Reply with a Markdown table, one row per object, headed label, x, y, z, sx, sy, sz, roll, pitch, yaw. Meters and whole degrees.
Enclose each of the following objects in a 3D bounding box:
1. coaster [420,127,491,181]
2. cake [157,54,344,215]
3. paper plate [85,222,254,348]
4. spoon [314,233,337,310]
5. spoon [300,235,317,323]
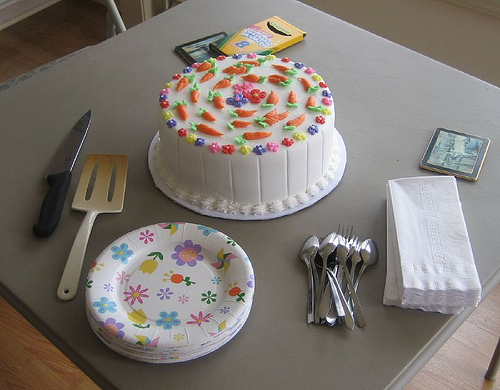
| label | x | y | z | sx | sy | sz | roll | pitch | yaw |
| --- | --- | --- | --- | --- | --- | --- | --- | --- | --- |
| coaster | 0.559 | -0.112 | 1.247 | 0.145 | 0.039 | 0.182 | 28 | 52 | 16 |
| cake | 0.007 | -0.274 | 1.099 | 0.391 | 0.149 | 0.416 | 22 | 54 | 20 |
| paper plate | -0.162 | 0.173 | 0.963 | 0.340 | 0.047 | 0.283 | 3 | 50 | -5 |
| spoon | 0.187 | 0.145 | 1.049 | 0.017 | 0.030 | 0.213 | 34 | 62 | -31 |
| spoon | 0.134 | 0.171 | 1.014 | 0.027 | 0.021 | 0.180 | 22 | 49 | -14 |
